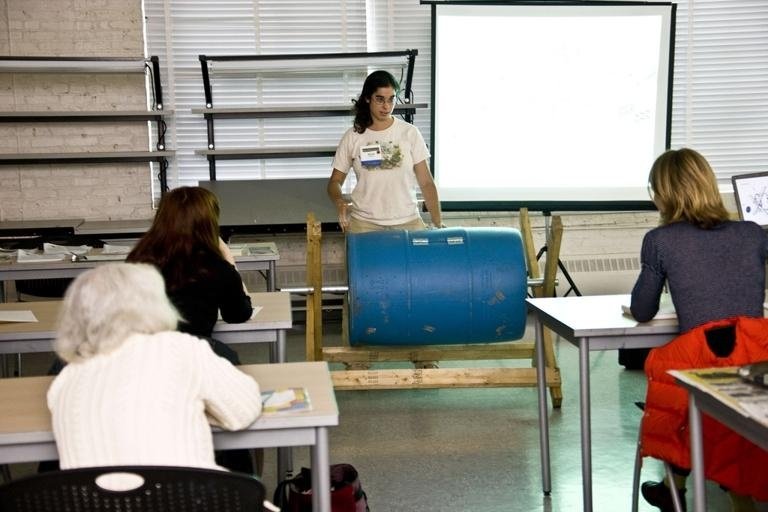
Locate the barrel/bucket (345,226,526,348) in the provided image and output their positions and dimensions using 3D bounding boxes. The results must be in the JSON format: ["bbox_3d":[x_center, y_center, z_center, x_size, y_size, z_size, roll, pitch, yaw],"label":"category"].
[{"bbox_3d":[0.284,0.148,4.406,0.912,0.596,0.608,-1,37,-2],"label":"barrel/bucket"}]

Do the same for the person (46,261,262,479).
[{"bbox_3d":[-0.801,0.374,2.533,0.631,0.667,0.373,2,15,15],"label":"person"}]

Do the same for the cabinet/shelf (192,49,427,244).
[{"bbox_3d":[-0.627,-0.869,5.771,1.976,1.218,0.348,-1,3,-5],"label":"cabinet/shelf"}]
